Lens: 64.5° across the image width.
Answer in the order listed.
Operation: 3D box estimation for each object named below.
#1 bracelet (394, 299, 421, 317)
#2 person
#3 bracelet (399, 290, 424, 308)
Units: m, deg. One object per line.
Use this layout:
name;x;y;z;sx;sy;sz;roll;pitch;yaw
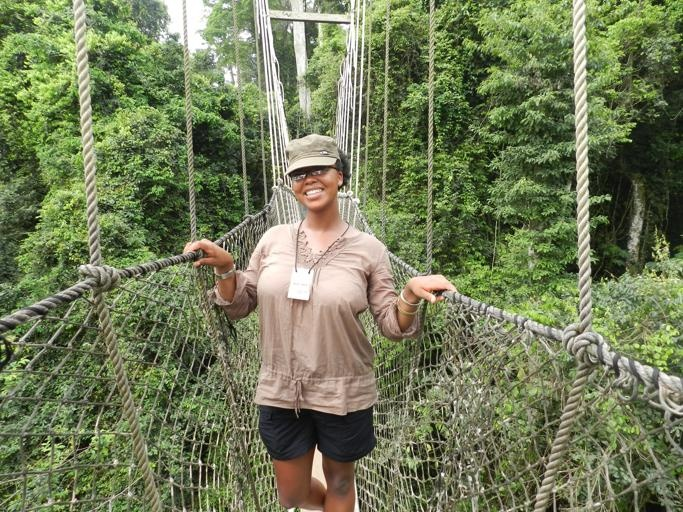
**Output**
bracelet;0.359;0.277;2.940;0.086;0.091;0.050;7;-8;1
person;-0.025;0.422;3.068;0.904;2.188;0.391;-1;9;8
bracelet;0.375;0.225;2.958;0.113;0.095;0.064;-1;9;6
